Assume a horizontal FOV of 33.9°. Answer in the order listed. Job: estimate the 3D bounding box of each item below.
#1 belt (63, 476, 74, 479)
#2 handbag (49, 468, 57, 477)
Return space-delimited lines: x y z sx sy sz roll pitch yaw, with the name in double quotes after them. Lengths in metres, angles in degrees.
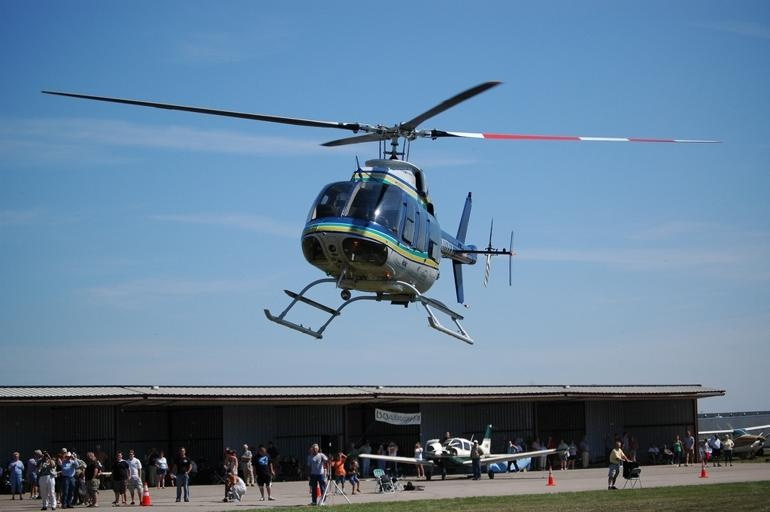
-12.910 8.900 51.119 0.323 0.129 0.068 4 -2 -12 "belt"
-13.507 8.697 51.065 0.304 0.365 0.133 7 -43 -32 "handbag"
